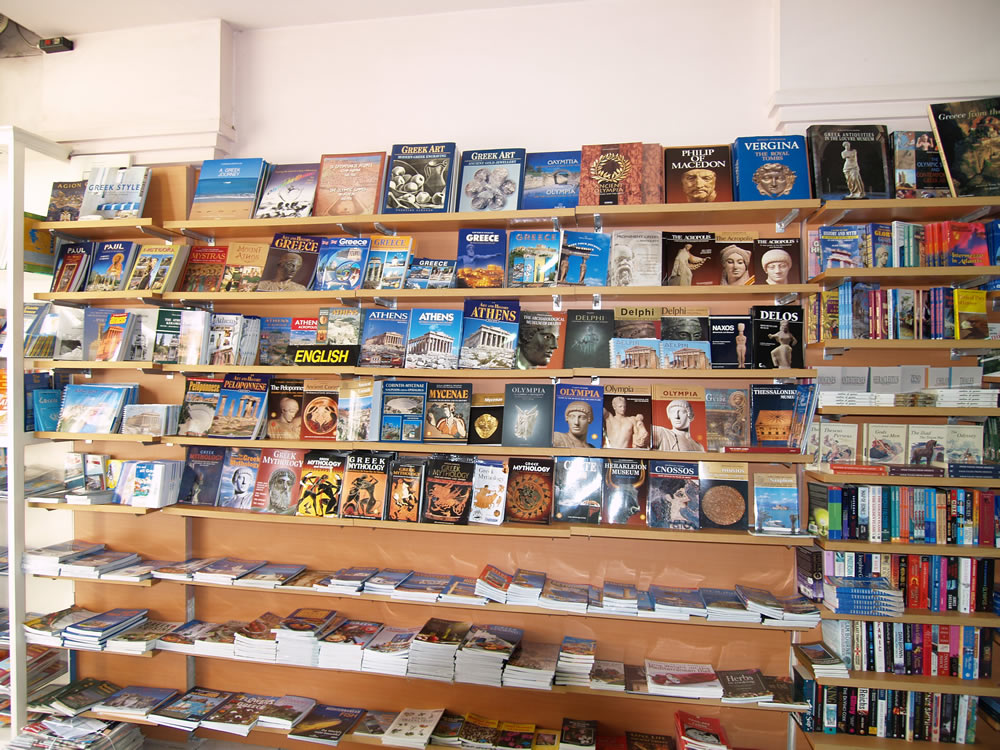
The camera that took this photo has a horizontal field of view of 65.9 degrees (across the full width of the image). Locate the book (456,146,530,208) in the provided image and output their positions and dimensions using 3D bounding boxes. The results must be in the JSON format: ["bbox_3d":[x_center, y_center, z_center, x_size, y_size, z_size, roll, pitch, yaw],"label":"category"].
[{"bbox_3d":[-0.037,-1.091,4.292,0.471,0.382,0.061,5,-9,13],"label":"book"}]

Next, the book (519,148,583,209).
[{"bbox_3d":[0.266,-1.078,4.255,0.316,0.314,0.167,1,12,1],"label":"book"}]

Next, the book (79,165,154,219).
[{"bbox_3d":[-2.261,-1.078,4.568,0.502,0.324,0.053,1,-21,10],"label":"book"}]

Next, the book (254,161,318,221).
[{"bbox_3d":[-1.175,-1.108,4.546,0.093,0.291,0.356,14,13,19],"label":"book"}]

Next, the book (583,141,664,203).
[{"bbox_3d":[0.656,-1.084,4.170,0.472,0.284,0.129,1,-2,7],"label":"book"}]
